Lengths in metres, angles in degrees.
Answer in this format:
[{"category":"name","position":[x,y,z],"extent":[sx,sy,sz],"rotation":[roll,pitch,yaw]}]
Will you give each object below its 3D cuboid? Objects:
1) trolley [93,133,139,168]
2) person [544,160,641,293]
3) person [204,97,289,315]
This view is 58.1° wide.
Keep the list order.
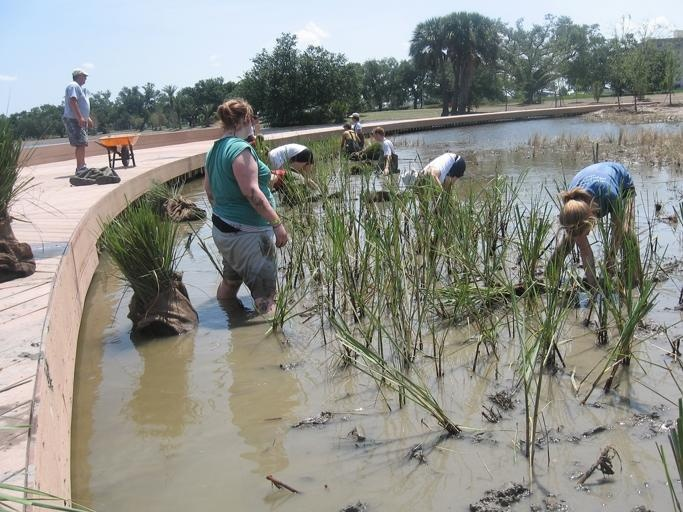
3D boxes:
[{"category":"trolley","position":[-3.963,-1.818,10.793],"extent":[0.486,0.438,0.652],"rotation":[-18,13,15]},{"category":"person","position":[2.174,-0.420,5.210],"extent":[0.475,0.813,1.394],"rotation":[2,13,38]},{"category":"person","position":[-0.830,-0.425,5.199],"extent":[0.468,1.763,0.841],"rotation":[-10,12,-31]}]
